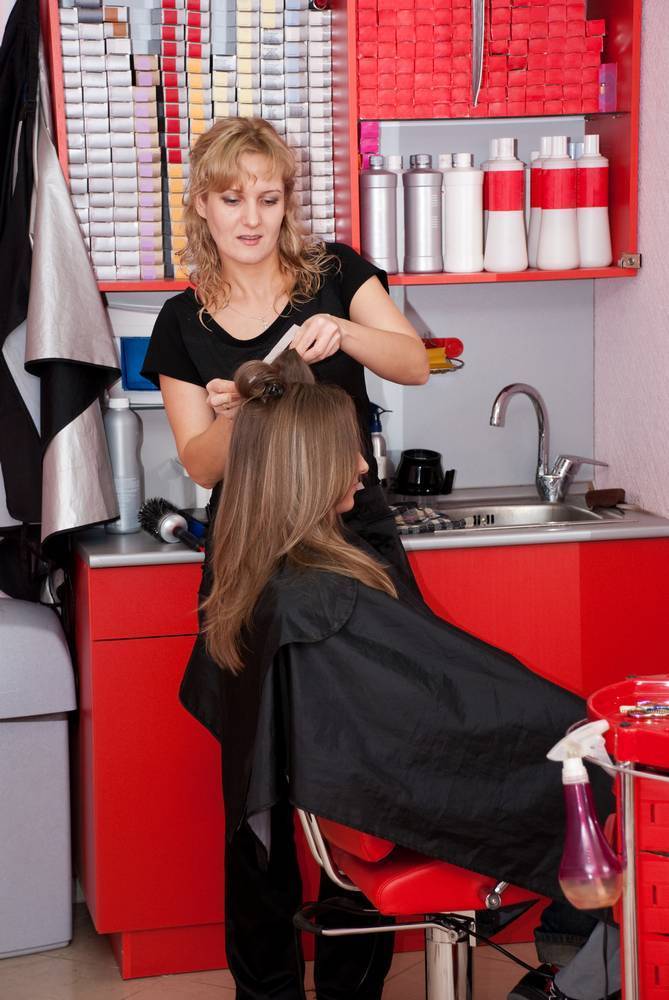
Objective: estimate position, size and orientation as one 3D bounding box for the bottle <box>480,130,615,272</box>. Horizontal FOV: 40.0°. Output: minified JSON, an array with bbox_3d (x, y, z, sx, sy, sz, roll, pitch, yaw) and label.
[{"bbox_3d":[0.482,-0.656,2.054,0.354,0.323,0.143,-1,11,2],"label":"bottle"}]

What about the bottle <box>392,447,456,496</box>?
[{"bbox_3d":[0.209,-0.059,2.169,0.131,0.078,0.103,2,2,28],"label":"bottle"}]

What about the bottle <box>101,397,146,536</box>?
[{"bbox_3d":[-0.478,-0.082,2.086,0.079,0.301,0.218,-4,6,-11],"label":"bottle"}]
